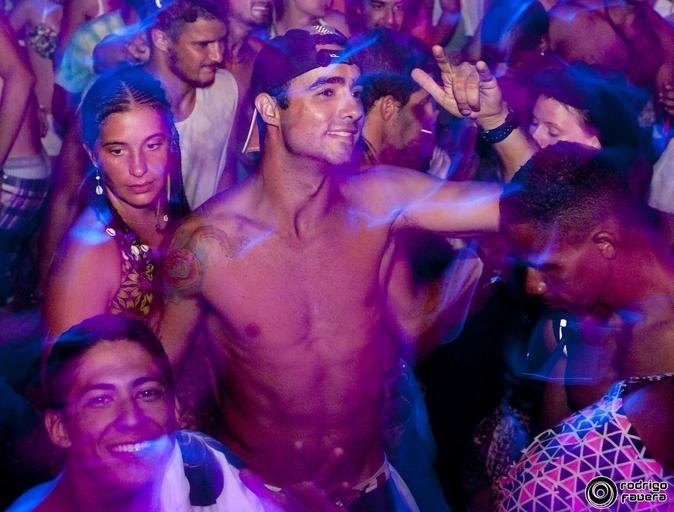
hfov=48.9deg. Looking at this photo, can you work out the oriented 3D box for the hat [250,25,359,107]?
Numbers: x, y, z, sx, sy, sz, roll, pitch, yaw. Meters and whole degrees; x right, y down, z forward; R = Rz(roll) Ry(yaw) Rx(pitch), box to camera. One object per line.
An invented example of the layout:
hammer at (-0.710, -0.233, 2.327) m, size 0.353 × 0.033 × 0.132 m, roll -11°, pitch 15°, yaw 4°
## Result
hat at (-0.186, -1.022, 3.928) m, size 0.578 × 0.287 × 0.476 m, roll -33°, pitch 5°, yaw 28°
